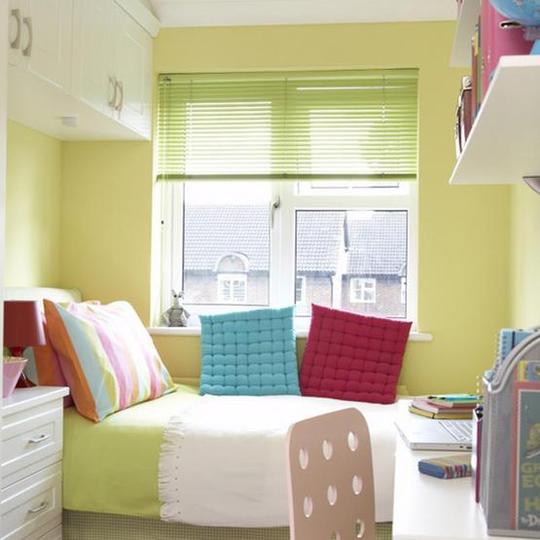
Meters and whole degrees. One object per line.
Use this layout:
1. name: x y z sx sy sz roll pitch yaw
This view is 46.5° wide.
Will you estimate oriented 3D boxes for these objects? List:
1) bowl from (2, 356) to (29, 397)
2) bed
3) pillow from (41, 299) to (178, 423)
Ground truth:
1. bowl: -0.884 0.362 2.143 0.094 0.096 0.092 2 -8 0
2. bed: -0.148 0.393 2.502 1.235 0.963 0.856 0 -2 4
3. pillow: -0.659 0.333 2.517 0.122 0.480 0.439 -23 -6 15
